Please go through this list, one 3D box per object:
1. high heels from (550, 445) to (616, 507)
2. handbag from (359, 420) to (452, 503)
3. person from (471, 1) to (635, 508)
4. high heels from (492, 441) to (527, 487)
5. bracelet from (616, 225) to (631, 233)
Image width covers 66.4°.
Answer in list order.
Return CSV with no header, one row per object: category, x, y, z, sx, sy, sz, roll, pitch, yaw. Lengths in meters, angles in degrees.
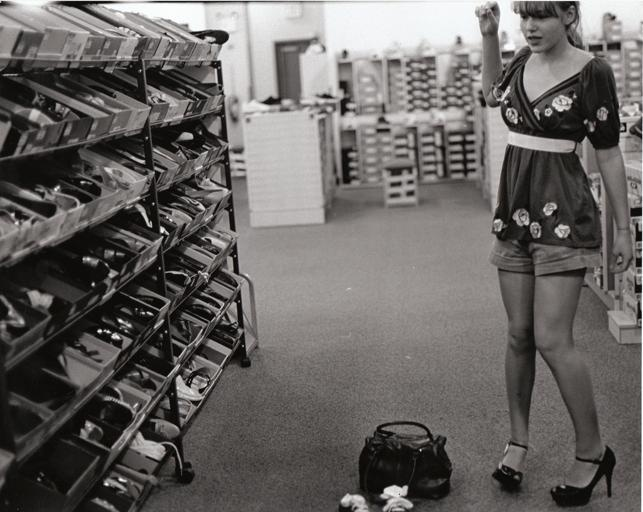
high heels,0.854,0.731,1.680,0.242,0.194,0.121,-5,3,-2
handbag,0.295,0.738,1.788,0.330,0.249,0.170,-4,-10,24
person,0.728,-0.006,1.591,0.508,1.605,0.327,4,13,26
high heels,0.674,0.781,1.764,0.085,0.097,0.242,10,-9,29
bracelet,0.917,-0.087,1.501,0.025,0.018,0.025,-3,8,-4
